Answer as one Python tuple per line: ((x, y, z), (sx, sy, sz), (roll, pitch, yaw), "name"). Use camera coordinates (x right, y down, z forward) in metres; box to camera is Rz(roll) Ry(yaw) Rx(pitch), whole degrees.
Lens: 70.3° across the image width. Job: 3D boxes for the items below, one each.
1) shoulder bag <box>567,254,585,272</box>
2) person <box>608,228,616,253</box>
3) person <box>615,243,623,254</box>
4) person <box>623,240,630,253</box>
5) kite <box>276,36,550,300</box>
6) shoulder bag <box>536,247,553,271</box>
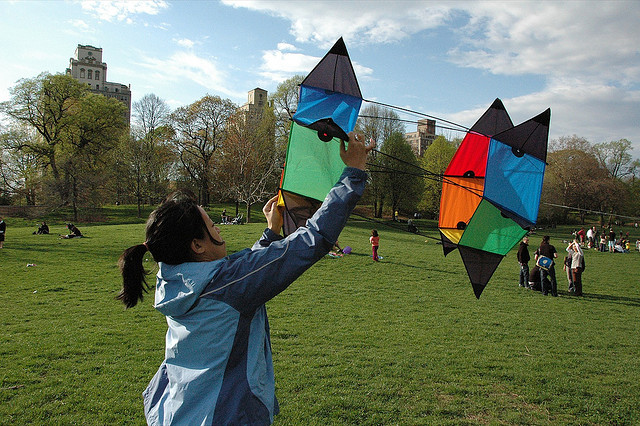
((12.486, 2.447, 22.053), (0.577, 0.816, 0.783), (-3, 10, 15), "shoulder bag")
((25.495, 2.528, 39.626), (0.595, 1.927, 1.477), (11, 16, 33), "person")
((26.221, 3.159, 39.870), (0.630, 0.456, 1.192), (11, 15, 32), "person")
((27.078, 3.070, 40.082), (0.390, 0.770, 1.247), (10, 15, 31), "person")
((2.707, -0.919, 11.214), (7.130, 5.279, 2.364), (14, -1, -14), "kite")
((10.394, 2.293, 21.043), (0.427, 0.690, 0.753), (6, -27, 8), "shoulder bag")
